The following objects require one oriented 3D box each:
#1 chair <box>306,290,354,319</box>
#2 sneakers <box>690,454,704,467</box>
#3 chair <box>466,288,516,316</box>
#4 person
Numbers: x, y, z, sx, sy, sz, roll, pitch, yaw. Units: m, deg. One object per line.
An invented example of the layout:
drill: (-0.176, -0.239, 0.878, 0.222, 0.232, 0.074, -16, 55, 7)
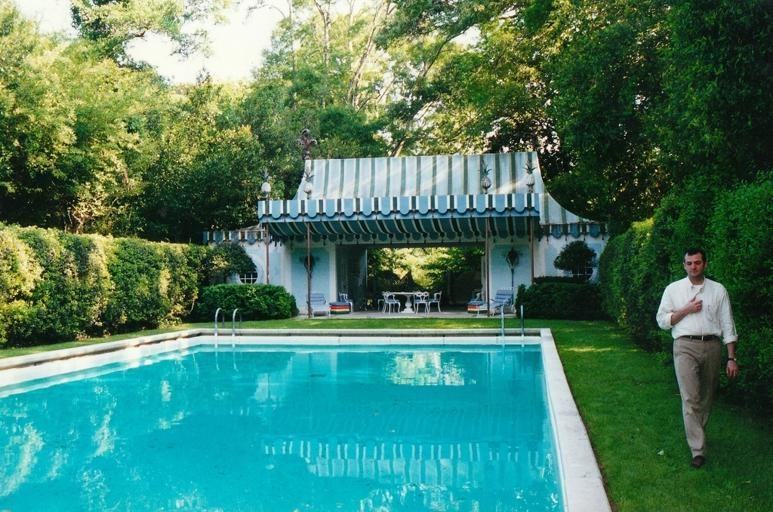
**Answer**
chair: (-2.130, 1.789, 25.381, 0.838, 1.007, 1.489, 0, -5, -10)
sneakers: (4.533, 2.999, 10.145, 0.216, 0.165, 0.093, 1, -4, -13)
chair: (3.740, 1.650, 24.500, 1.330, 0.740, 0.857, 4, -7, -40)
person: (4.626, 1.498, 10.375, 1.042, 3.172, 0.386, 0, -3, -1)
